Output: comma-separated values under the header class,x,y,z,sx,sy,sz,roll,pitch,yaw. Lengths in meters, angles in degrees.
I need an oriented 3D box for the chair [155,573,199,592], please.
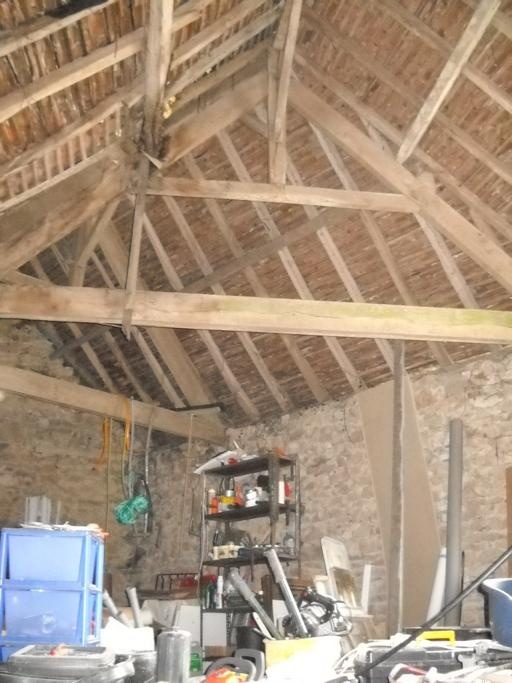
class,x,y,z,sx,sy,sz,roll,pitch,yaw
chair,-0.819,2.444,7.917,0.336,0.163,1.023,3,-17,-13
